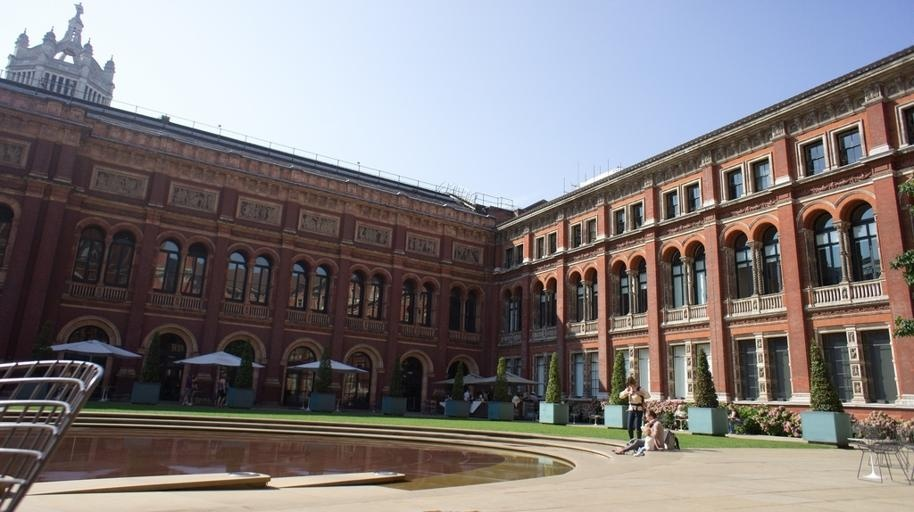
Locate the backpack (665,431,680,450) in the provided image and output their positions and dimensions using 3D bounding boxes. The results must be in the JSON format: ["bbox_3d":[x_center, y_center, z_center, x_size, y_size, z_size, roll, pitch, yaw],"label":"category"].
[{"bbox_3d":[9.368,8.084,24.930,0.289,0.780,0.722,-20,-29,41],"label":"backpack"}]

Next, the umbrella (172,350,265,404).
[{"bbox_3d":[-17.806,8.829,40.826,3.817,4.069,5.937,2,3,22],"label":"umbrella"}]
